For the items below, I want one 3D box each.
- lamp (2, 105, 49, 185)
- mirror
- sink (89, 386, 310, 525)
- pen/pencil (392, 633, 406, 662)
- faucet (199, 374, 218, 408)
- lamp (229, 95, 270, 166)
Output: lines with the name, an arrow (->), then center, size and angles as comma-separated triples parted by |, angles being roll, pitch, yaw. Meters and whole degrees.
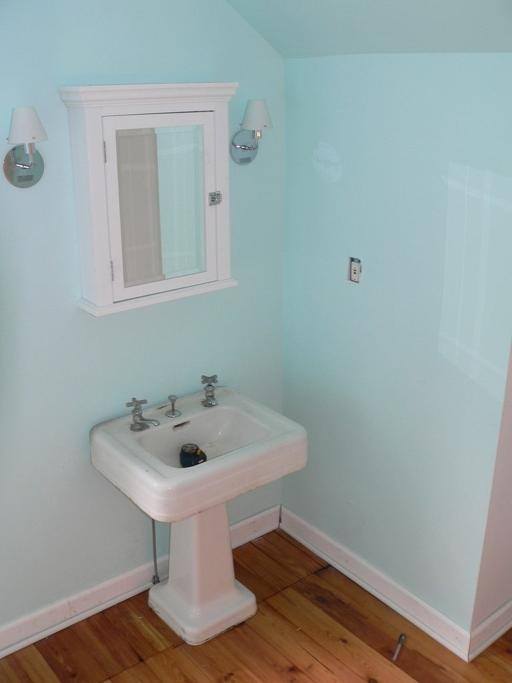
lamp -> -0.554, -0.464, 1.414 | 0.102, 0.195, 0.160 | -8, 17, -23
mirror -> -0.282, -0.393, 1.650 | 0.075, 0.576, 0.439 | 20, 27, 39
sink -> -0.174, 0.332, 1.850 | 0.542, 0.161, 0.446 | -13, 20, -37
pen/pencil -> 0.470, 0.996, 1.941 | 0.027, 0.029, 0.104 | 22, 44, 20
faucet -> -0.163, 0.174, 2.035 | 0.065, 0.094, 0.064 | 19, 31, 29
lamp -> -0.022, -0.665, 1.897 | 0.122, 0.191, 0.254 | -2, 16, -2
